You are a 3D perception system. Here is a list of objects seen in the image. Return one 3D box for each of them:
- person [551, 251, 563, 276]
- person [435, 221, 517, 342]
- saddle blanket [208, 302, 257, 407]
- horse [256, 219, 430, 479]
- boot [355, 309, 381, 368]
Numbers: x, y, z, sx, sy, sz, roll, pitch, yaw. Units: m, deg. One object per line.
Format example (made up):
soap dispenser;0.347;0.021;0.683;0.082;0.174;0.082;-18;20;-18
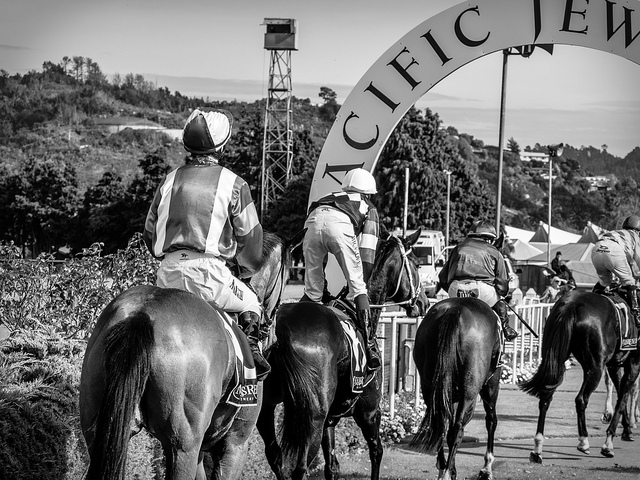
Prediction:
person;6.338;0.635;23.443;0.247;0.630;0.843;2;1;14
person;2.096;0.560;11.418;0.916;1.644;0.786;4;-1;-38
saddle blanket;-0.719;0.920;7.246;0.336;0.826;0.419;1;4;-5
horse;0.171;1.207;8.600;1.157;3.251;1.213;1;0;-38
boot;0.497;0.983;8.900;0.168;0.722;0.202;-5;6;14
